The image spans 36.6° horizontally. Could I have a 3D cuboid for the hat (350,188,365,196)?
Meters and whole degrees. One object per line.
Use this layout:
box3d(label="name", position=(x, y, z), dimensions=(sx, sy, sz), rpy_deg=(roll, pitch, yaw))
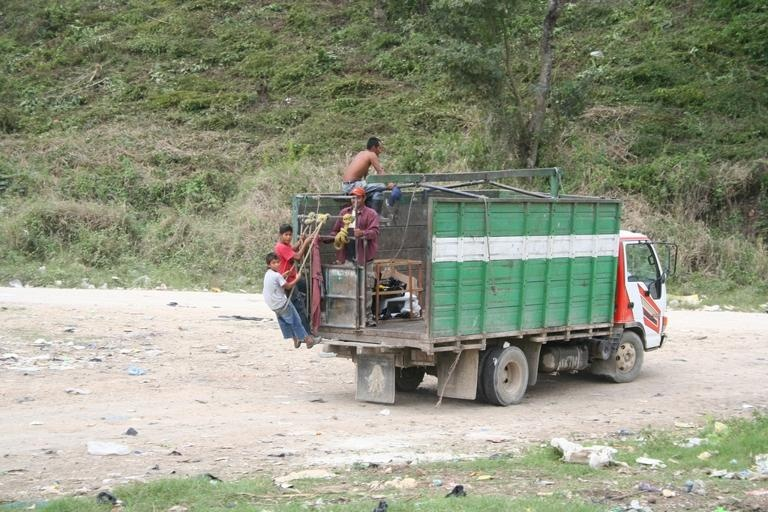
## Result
box3d(label="hat", position=(-0.665, -1.646, 29.571), dimensions=(0.308, 0.237, 0.389), rpy_deg=(0, 1, -7))

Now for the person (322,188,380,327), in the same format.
box3d(label="person", position=(-0.715, -0.008, 29.524), dimensions=(1.055, 3.502, 0.763), rpy_deg=(1, 2, 2))

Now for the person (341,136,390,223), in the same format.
box3d(label="person", position=(-0.408, -2.008, 31.044), dimensions=(1.524, 2.241, 1.072), rpy_deg=(-10, 16, -29))

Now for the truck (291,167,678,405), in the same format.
box3d(label="truck", position=(3.275, 0.401, 31.704), dimensions=(10.578, 4.958, 5.401), rpy_deg=(-5, 7, -38))
